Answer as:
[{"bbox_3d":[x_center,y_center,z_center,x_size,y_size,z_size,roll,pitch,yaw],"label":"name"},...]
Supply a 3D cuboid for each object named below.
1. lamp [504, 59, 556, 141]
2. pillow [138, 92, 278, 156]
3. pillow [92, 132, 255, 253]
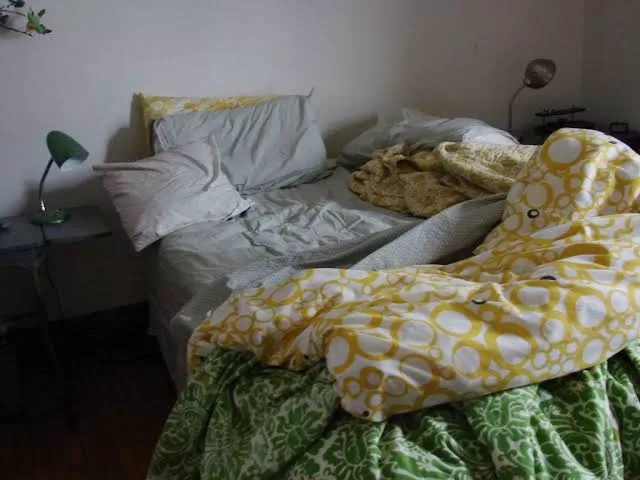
[{"bbox_3d":[1.262,-0.845,3.139,0.247,0.470,0.460,6,25,18],"label":"lamp"},{"bbox_3d":[-0.539,-0.533,2.452,0.494,0.221,0.058,-8,-2,-20],"label":"pillow"},{"bbox_3d":[-0.564,-0.189,2.207,0.585,0.145,0.498,-24,59,-22],"label":"pillow"}]
